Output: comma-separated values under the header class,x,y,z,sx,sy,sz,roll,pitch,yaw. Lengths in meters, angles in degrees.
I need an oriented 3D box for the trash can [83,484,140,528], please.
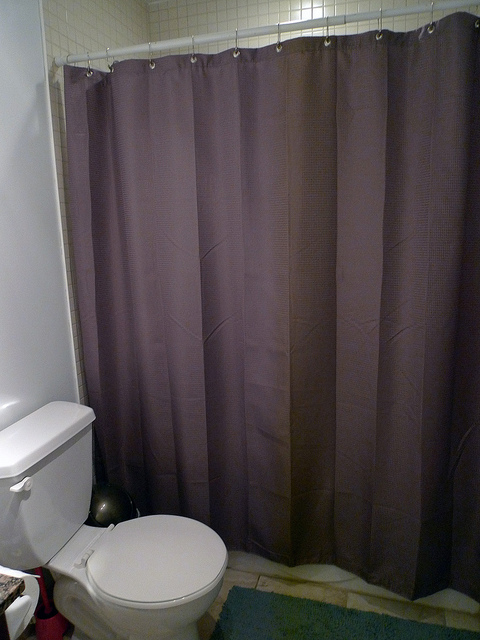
class,x,y,z,sx,sy,sz,roll,pitch,yaw
trash can,-0.438,0.607,1.720,0.104,0.137,0.121,-4,-3,-7
